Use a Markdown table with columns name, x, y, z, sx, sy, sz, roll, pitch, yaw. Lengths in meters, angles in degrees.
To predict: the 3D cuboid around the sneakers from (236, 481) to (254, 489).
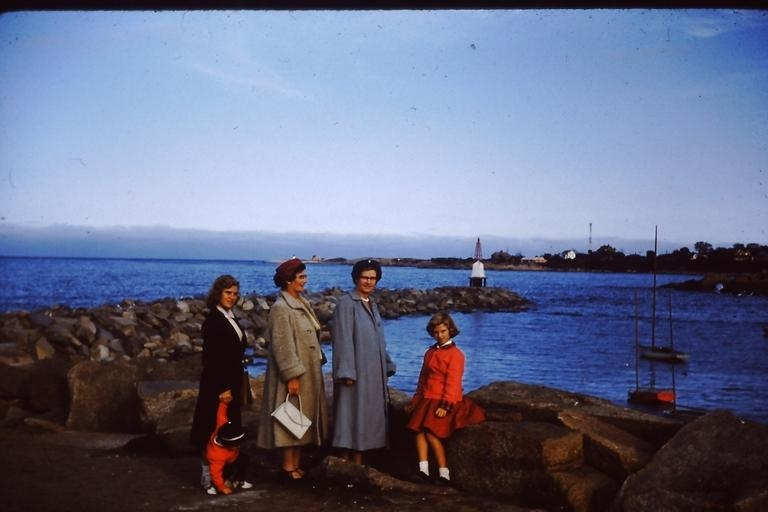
| name | x | y | z | sx | sy | sz | roll | pitch | yaw |
| --- | --- | --- | --- | --- | --- | --- | --- | --- | --- |
| sneakers | -1.853 | 3.072 | 9.258 | 0.172 | 0.066 | 0.115 | -10 | -8 | 34 |

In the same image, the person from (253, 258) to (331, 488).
| name | x | y | z | sx | sy | sz | roll | pitch | yaw |
| --- | --- | --- | --- | --- | --- | --- | --- | --- | --- |
| person | -1.206 | 1.325 | 9.514 | 0.920 | 2.543 | 0.557 | 2 | 1 | -7 |

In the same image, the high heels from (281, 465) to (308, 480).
| name | x | y | z | sx | sy | sz | roll | pitch | yaw |
| --- | --- | --- | --- | --- | --- | --- | --- | --- | --- |
| high heels | -1.224 | 2.985 | 9.502 | 0.262 | 0.100 | 0.149 | -5 | -4 | 27 |

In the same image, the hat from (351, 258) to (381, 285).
| name | x | y | z | sx | sy | sz | roll | pitch | yaw |
| --- | --- | --- | --- | --- | --- | --- | --- | --- | --- |
| hat | -0.243 | 0.219 | 9.626 | 0.379 | 0.387 | 0.143 | 0 | 0 | -3 |

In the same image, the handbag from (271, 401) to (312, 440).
| name | x | y | z | sx | sy | sz | roll | pitch | yaw |
| --- | --- | --- | --- | --- | --- | --- | --- | --- | --- |
| handbag | -1.265 | 2.226 | 9.328 | 0.375 | 0.396 | 0.153 | -51 | 2 | -38 |

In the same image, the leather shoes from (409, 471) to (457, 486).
| name | x | y | z | sx | sy | sz | roll | pitch | yaw |
| --- | --- | --- | --- | --- | --- | --- | --- | --- | --- |
| leather shoes | 0.665 | 3.025 | 9.533 | 0.659 | 0.251 | 0.220 | -1 | -5 | 12 |

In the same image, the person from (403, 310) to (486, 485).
| name | x | y | z | sx | sy | sz | roll | pitch | yaw |
| --- | --- | --- | --- | --- | --- | --- | --- | --- | --- |
| person | 0.820 | 1.941 | 9.586 | 0.937 | 2.275 | 0.416 | 2 | 1 | 3 |
